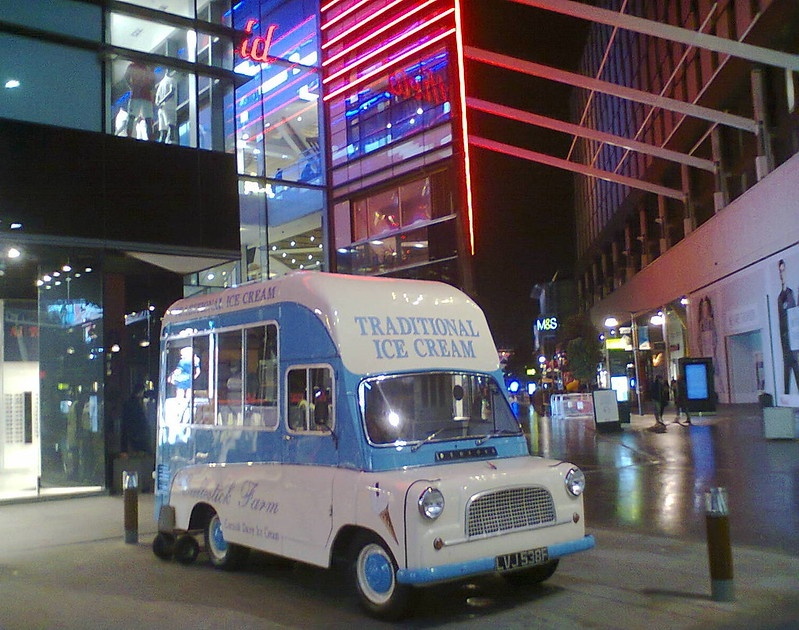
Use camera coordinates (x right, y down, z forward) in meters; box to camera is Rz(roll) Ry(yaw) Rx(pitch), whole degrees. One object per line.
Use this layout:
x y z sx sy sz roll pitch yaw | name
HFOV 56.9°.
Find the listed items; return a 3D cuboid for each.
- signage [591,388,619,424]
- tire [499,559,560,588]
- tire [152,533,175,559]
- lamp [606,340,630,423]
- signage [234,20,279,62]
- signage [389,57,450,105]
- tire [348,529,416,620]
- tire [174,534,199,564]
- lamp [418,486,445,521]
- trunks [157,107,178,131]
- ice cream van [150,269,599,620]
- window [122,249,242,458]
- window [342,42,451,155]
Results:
7.474 3.299 26.801 1.297 1.746 0.211 6 -17 -22 | signage
1.581 3.095 8.804 0.465 0.290 0.473 -6 -9 -17 | tire
-3.542 3.390 11.029 0.294 0.413 0.415 -4 16 -27 | tire
10.460 3.357 35.113 1.291 4.203 0.989 -3 11 26 | lamp
-4.719 -9.240 24.835 1.190 0.115 1.548 7 -42 -14 | signage
0.992 -10.611 33.646 2.400 2.399 0.330 1 -2 43 | signage
-0.160 2.754 7.837 0.246 0.945 0.764 15 3 -40 | tire
-3.100 3.392 10.699 0.137 0.423 0.350 -13 -4 34 | tire
0.311 1.945 7.589 0.248 0.293 0.101 17 -18 -34 | lamp
-5.657 -4.729 17.868 0.483 0.754 0.364 8 -14 -42 | trunks
-0.890 1.611 10.545 3.318 4.200 6.111 4 -8 -43 | ice cream van
-5.564 0.931 20.867 2.489 5.752 2.913 -1 21 -25 | window
-0.022 -9.787 33.973 4.724 2.997 0.057 -22 -25 31 | window
